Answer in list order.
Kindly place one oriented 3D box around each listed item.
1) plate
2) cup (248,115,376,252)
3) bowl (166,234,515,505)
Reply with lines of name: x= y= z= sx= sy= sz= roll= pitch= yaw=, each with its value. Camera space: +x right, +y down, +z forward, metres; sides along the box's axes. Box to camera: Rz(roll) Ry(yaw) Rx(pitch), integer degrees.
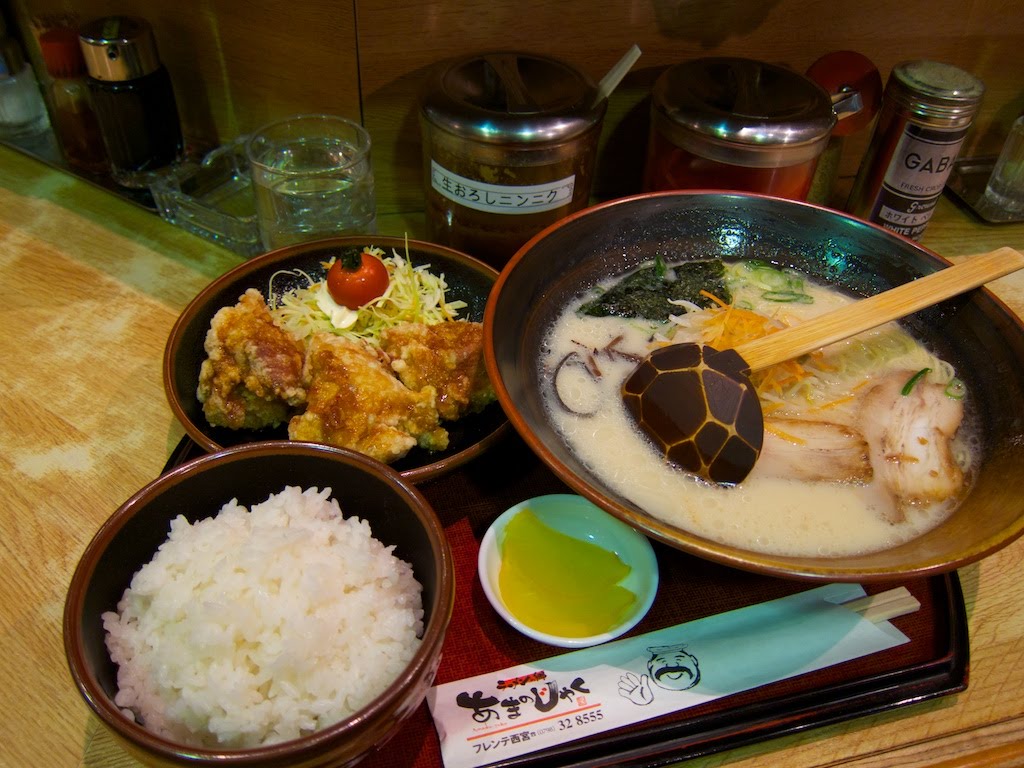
plate: x=0.085 y=0.313 z=1.262 sx=0.246 sy=0.061 sz=0.232 roll=-28 pitch=57 yaw=-22
cup: x=-0.463 y=-0.463 z=1.758 sx=0.292 sy=0.210 sz=0.278 roll=1 pitch=52 yaw=-1
bowl: x=-0.302 y=-0.016 z=1.394 sx=0.565 sy=0.277 sz=0.495 roll=-16 pitch=29 yaw=-38
